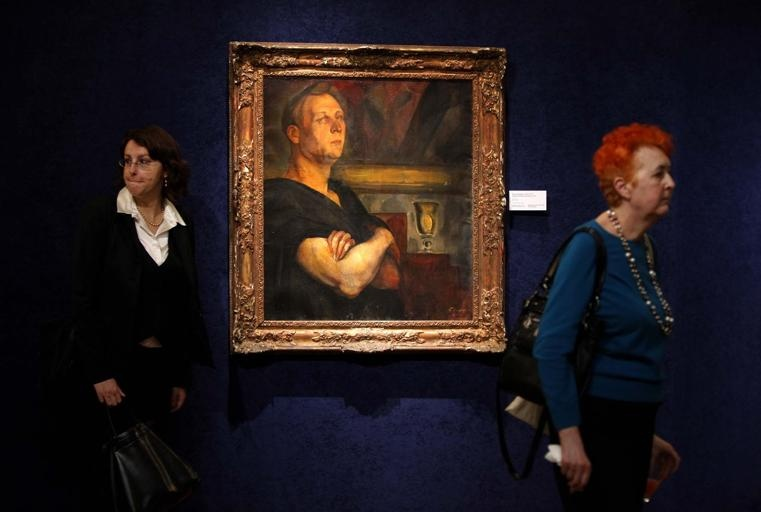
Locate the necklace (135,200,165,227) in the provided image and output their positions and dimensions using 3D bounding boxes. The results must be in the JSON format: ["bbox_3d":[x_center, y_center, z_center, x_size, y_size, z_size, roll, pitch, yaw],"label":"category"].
[{"bbox_3d":[-1.453,-0.289,5.268,0.141,0.161,0.188,-13,44,-33],"label":"necklace"}]

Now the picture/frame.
[{"bbox_3d":[-0.139,-0.326,5.445,2.131,2.251,0.181,0,-1,-4],"label":"picture/frame"}]

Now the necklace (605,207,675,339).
[{"bbox_3d":[1.442,0.081,4.599,0.129,0.677,0.418,-19,-1,27],"label":"necklace"}]
